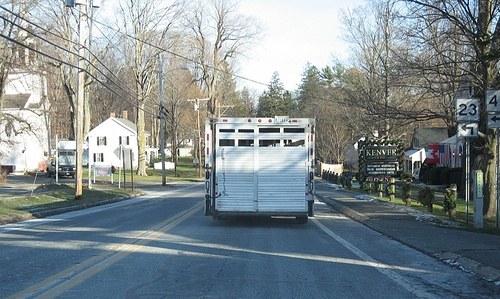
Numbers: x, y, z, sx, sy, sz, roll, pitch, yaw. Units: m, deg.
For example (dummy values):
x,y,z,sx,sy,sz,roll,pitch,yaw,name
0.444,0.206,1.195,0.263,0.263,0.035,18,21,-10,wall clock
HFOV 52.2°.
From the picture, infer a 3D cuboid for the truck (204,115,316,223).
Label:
x,y,z,sx,sy,sz,roll,pitch,yaw,name
0.542,1.087,27.301,5.234,4.262,5.103,0,-6,3,truck
